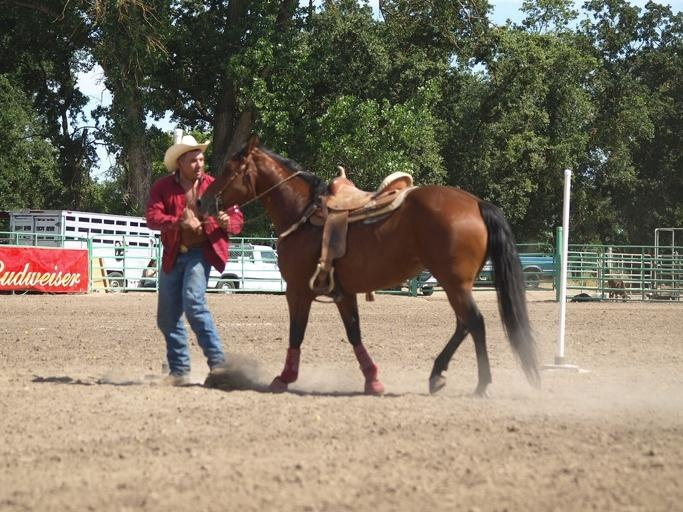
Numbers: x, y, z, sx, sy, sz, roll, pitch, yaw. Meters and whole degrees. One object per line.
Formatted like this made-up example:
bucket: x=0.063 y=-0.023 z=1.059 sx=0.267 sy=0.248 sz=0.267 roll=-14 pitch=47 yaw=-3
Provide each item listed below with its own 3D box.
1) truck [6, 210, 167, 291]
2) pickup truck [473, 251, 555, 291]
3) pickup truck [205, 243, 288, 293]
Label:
truck: x=-8.172 y=-0.587 z=34.504 sx=5.954 sy=3.931 sz=3.568 roll=-2 pitch=2 yaw=-23
pickup truck: x=6.931 y=0.512 z=40.098 sx=3.664 sy=1.462 sz=2.160 roll=-2 pitch=0 yaw=-6
pickup truck: x=-3.253 y=0.352 z=34.320 sx=2.866 sy=1.623 sz=1.607 roll=-2 pitch=3 yaw=-9
